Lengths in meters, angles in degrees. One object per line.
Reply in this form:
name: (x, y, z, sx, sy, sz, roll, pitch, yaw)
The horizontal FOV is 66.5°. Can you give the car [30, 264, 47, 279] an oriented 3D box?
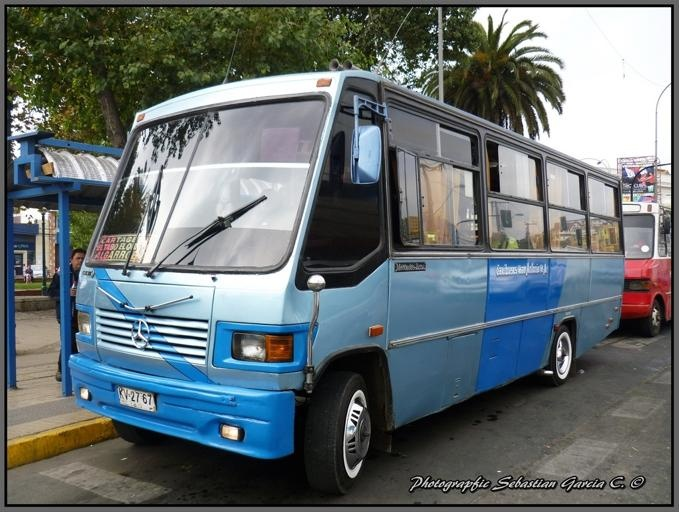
car: (-26.832, 1.404, 46.115, 1.249, 1.171, 2.212, -3, 10, -45)
